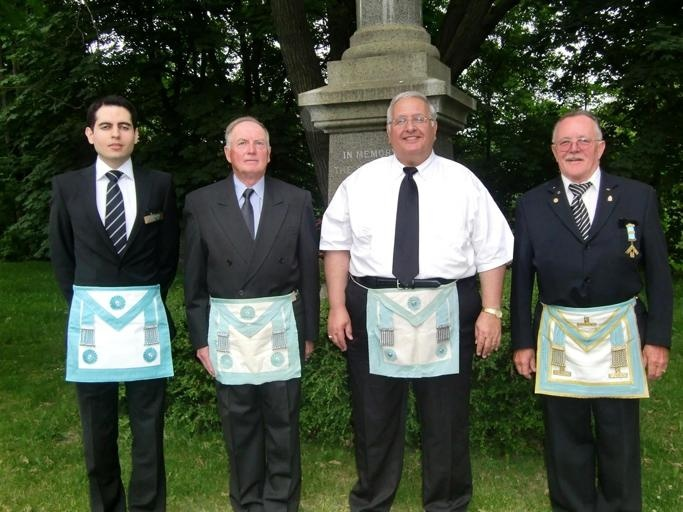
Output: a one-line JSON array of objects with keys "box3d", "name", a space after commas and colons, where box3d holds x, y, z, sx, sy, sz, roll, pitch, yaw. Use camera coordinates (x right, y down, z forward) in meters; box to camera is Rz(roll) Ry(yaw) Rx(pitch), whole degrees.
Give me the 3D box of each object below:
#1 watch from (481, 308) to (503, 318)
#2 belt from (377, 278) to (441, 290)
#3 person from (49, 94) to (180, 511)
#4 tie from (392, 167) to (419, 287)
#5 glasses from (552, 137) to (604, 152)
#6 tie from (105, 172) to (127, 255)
[{"box3d": [1.046, 0.390, 4.565, 0.086, 0.044, 0.088, 2, -12, 45], "name": "watch"}, {"box3d": [0.454, 0.187, 4.462, 0.453, 0.070, 0.066, 1, 6, 6], "name": "belt"}, {"box3d": [-1.602, 0.383, 4.657, 0.891, 3.033, 0.424, -2, 7, -15], "name": "person"}, {"box3d": [0.452, -0.209, 4.520, 0.173, 0.805, 0.262, 0, 6, 4], "name": "tie"}, {"box3d": [1.613, -0.761, 4.450, 0.318, 0.094, 0.140, 2, 6, 17], "name": "glasses"}, {"box3d": [-1.569, -0.305, 4.539, 0.140, 0.580, 0.159, -2, 7, -20], "name": "tie"}]
